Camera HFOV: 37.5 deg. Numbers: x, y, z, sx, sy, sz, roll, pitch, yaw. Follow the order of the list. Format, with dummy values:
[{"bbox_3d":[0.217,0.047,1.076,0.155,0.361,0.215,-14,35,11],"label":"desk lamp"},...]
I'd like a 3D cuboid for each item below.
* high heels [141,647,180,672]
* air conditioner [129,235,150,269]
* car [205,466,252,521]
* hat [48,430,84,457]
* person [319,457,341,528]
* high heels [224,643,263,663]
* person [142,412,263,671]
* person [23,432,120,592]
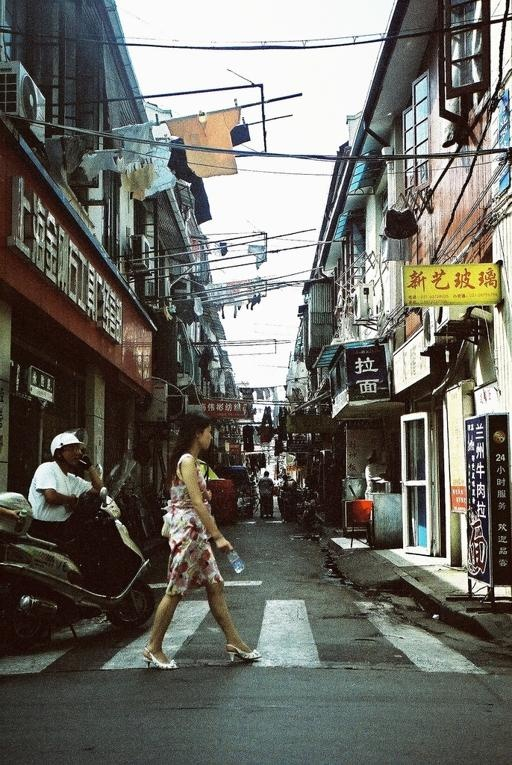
[{"bbox_3d":[-0.561,1.609,4.389,0.202,0.127,0.153,-6,-10,9],"label":"high heels"},{"bbox_3d":[-2.807,-3.148,18.074,0.356,1.075,0.952,-1,-6,3],"label":"air conditioner"},{"bbox_3d":[-0.905,4.244,27.777,1.172,2.461,3.992,-3,-14,0],"label":"car"},{"bbox_3d":[-1.573,0.488,6.248,0.209,0.162,0.183,-24,-2,-8],"label":"hat"},{"bbox_3d":[2.311,3.319,22.728,0.497,2.249,0.407,0,-24,7],"label":"person"},{"bbox_3d":[-0.073,1.626,4.629,0.177,0.142,0.122,-4,-3,-1],"label":"high heels"},{"bbox_3d":[-0.364,0.948,4.656,0.660,1.554,1.056,-2,-8,-6],"label":"person"},{"bbox_3d":[-1.503,1.002,6.552,0.994,1.577,0.613,1,-1,-4],"label":"person"}]
